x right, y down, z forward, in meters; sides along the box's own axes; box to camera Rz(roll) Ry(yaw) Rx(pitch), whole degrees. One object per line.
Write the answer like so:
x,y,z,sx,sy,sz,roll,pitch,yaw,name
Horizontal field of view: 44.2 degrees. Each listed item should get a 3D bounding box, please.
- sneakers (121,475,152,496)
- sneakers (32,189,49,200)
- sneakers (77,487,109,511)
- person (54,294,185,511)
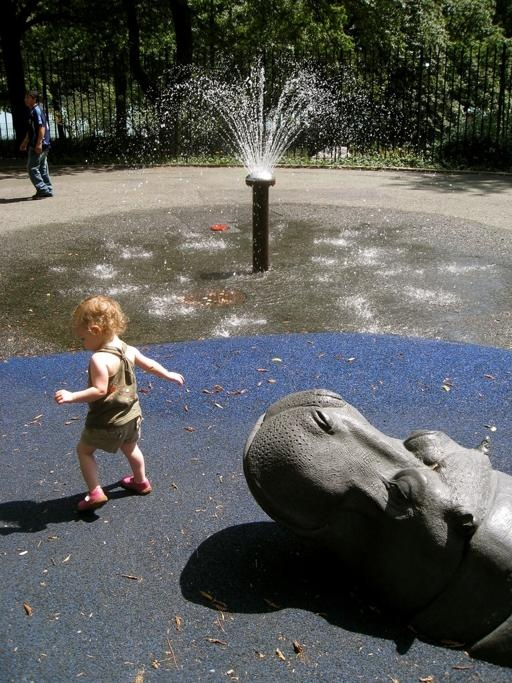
-0.567,0.683,3.004,0.146,0.061,0.063,17,23,38,sneakers
-4.210,-2.887,12.347,0.141,0.172,0.383,-35,7,26,sneakers
-0.728,0.710,2.812,0.075,0.067,0.148,-3,-8,-25,sneakers
-0.734,0.357,3.382,0.486,1.141,0.809,17,28,24,person
